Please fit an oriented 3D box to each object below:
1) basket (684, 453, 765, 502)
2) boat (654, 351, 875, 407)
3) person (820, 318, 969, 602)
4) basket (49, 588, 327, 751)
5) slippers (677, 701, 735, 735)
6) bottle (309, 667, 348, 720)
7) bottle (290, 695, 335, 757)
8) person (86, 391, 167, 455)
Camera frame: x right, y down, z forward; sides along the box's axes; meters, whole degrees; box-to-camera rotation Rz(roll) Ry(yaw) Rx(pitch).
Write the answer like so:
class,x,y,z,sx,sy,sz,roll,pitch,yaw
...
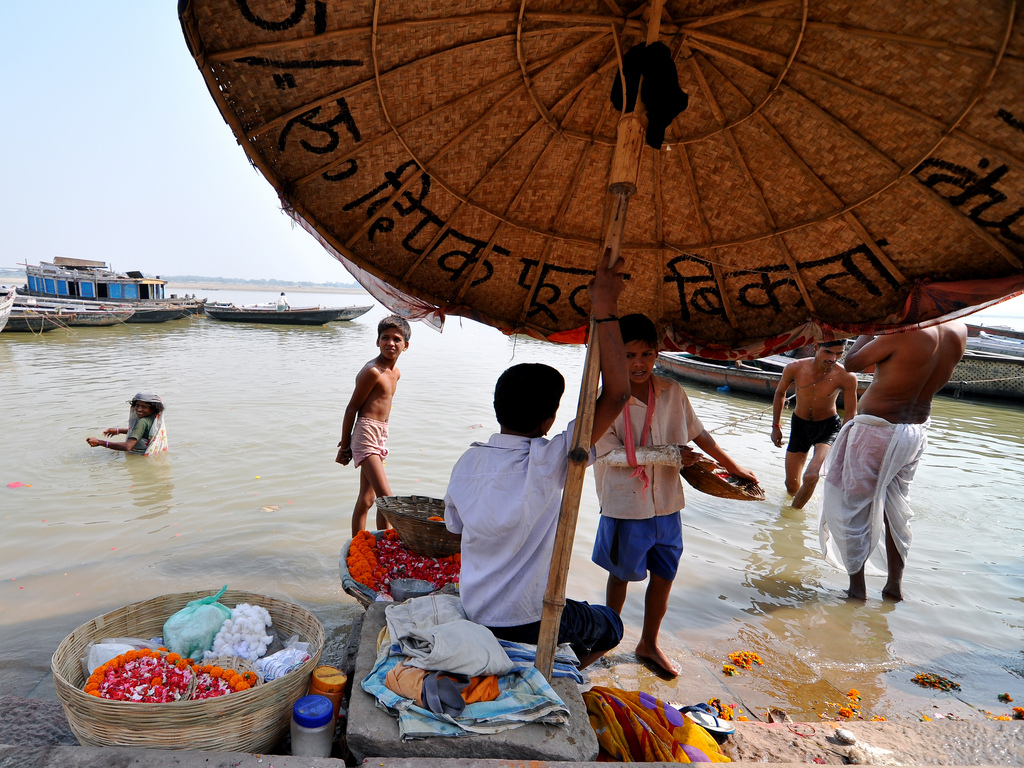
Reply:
class,x,y,z,sx,sy,sz,roll,pitch,yaw
basket,1.429,0.580,4.326,0.401,0.105,0.334,31,9,40
boat,4.410,-0.062,11.160,1.159,0.672,4.003,-9,9,-29
person,3.589,0.537,6.243,0.973,2.970,0.924,7,9,9
basket,-1.790,1.634,3.659,1.298,0.505,1.282,7,5,43
slippers,1.162,1.988,3.918,0.178,0.098,0.381,8,4,-16
bottle,-0.993,1.650,3.461,0.183,0.285,0.178,-3,-47,-4
bottle,-1.017,1.739,3.293,0.175,0.187,0.280,23,14,-22
person,-5.482,0.504,9.567,1.048,0.850,0.782,-5,23,-11
